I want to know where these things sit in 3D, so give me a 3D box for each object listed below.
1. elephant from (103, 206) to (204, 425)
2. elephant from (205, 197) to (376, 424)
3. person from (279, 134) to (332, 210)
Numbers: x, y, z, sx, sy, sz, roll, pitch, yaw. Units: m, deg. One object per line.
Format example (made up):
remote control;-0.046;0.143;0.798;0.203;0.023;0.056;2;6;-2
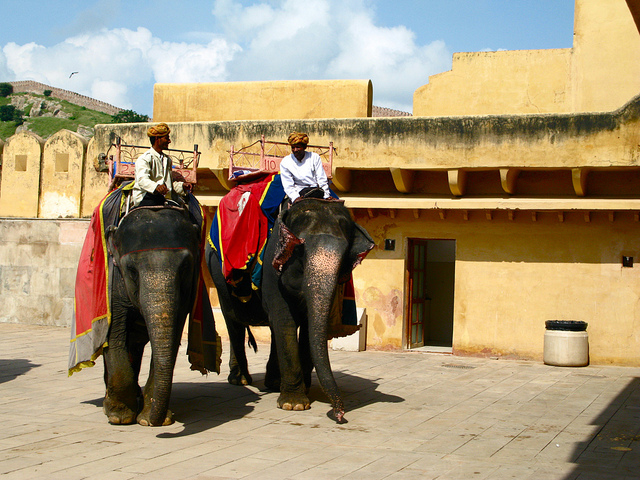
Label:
elephant;-2.067;0.958;11.553;1.232;2.763;0.908;5;6;36
elephant;-0.471;0.863;12.779;1.690;2.949;2.965;0;5;-18
person;-0.201;-1.004;12.826;0.807;0.941;0.808;0;12;18
